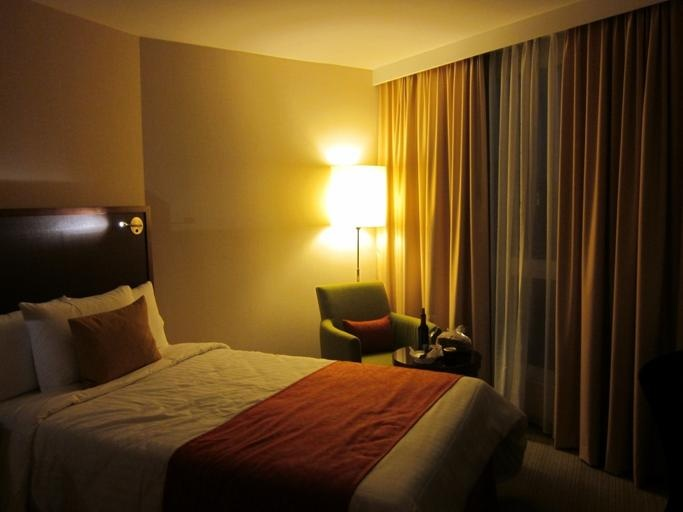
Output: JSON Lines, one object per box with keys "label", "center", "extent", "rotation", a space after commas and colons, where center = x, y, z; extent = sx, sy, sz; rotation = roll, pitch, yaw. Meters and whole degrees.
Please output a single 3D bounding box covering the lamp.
{"label": "lamp", "center": [0.183, -0.200, 5.930], "extent": [0.413, 1.116, 0.409], "rotation": [1, 0, -8]}
